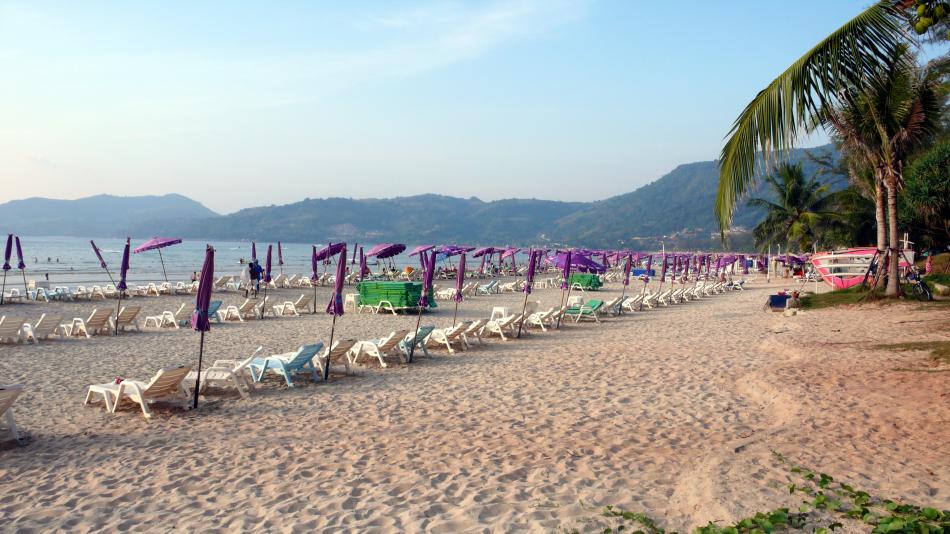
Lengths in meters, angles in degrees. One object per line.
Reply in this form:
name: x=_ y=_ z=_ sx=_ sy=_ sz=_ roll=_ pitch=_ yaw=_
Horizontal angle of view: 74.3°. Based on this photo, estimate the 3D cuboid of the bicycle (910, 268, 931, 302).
bicycle: x=14.033 y=0.557 z=19.571 sx=0.611 sy=1.029 sz=1.681 roll=-1 pitch=0 yaw=35
